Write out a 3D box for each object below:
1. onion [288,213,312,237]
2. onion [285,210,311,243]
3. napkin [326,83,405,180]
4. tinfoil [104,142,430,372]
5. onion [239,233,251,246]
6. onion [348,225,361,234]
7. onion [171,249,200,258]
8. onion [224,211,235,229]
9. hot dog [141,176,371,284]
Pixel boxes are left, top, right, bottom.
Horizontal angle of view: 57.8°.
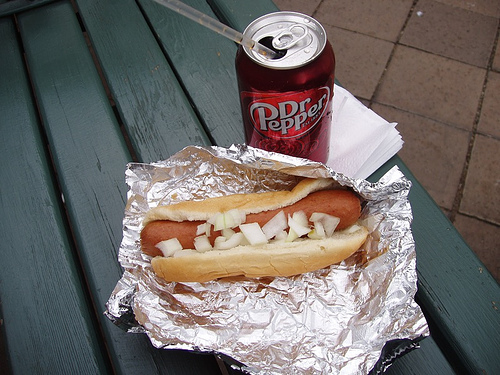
[{"bbox_3d":[0.203,0.158,1.904,0.106,0.033,0.046,38,31,-3],"label":"onion"},{"bbox_3d":[0.206,0.148,1.923,0.047,0.085,0.148,15,84,30],"label":"onion"},{"bbox_3d":[0.500,-0.235,2.062,0.371,0.088,0.373,41,79,20],"label":"napkin"},{"bbox_3d":[0.051,0.293,1.853,1.247,0.268,0.858,7,68,3],"label":"tinfoil"},{"bbox_3d":[-0.026,0.221,1.940,0.041,0.036,0.064,-7,94,-6],"label":"onion"},{"bbox_3d":[0.448,0.178,1.962,0.048,0.011,0.028,-26,61,-15],"label":"onion"},{"bbox_3d":[-0.280,0.274,1.910,0.077,0.020,0.040,-7,33,-9],"label":"onion"},{"bbox_3d":[-0.088,0.133,1.869,0.047,0.018,0.064,-4,83,3],"label":"onion"},{"bbox_3d":[0.057,0.225,2.019,0.960,0.328,0.469,-10,42,-7],"label":"hot dog"}]
